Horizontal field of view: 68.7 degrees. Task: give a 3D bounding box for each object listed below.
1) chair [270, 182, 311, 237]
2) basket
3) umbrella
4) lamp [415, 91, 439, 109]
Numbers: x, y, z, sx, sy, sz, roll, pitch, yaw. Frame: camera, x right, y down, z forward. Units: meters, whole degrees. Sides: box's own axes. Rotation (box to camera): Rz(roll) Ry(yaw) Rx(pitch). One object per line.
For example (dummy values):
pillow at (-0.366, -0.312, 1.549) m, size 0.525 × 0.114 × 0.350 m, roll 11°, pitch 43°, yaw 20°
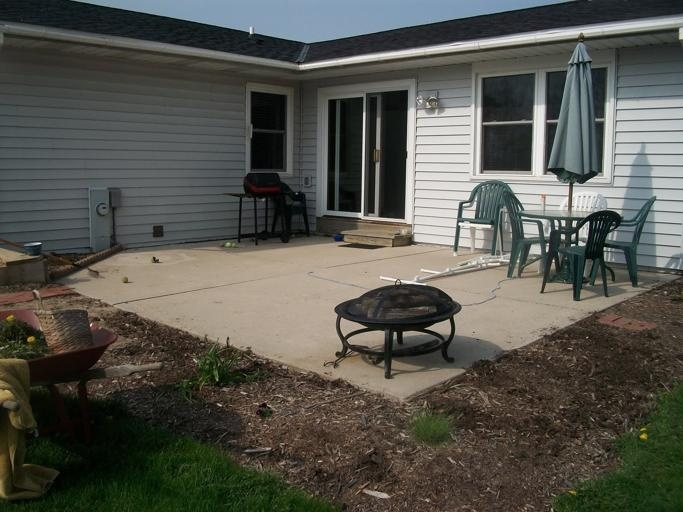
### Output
chair at (-1.116, -1.003, 10.836) m, size 0.732 × 1.131 × 1.126 m, roll 3°, pitch 10°, yaw 19°
basket at (-1.678, 0.416, 3.046) m, size 0.254 × 0.116 × 0.369 m, roll -2°, pitch 26°, yaw -44°
umbrella at (3.199, -1.592, 6.775) m, size 0.572 × 2.711 × 1.236 m, roll 6°, pitch 11°, yaw 28°
lamp at (1.621, -2.922, 9.376) m, size 0.490 × 0.246 × 0.338 m, roll -2°, pitch 11°, yaw -16°
